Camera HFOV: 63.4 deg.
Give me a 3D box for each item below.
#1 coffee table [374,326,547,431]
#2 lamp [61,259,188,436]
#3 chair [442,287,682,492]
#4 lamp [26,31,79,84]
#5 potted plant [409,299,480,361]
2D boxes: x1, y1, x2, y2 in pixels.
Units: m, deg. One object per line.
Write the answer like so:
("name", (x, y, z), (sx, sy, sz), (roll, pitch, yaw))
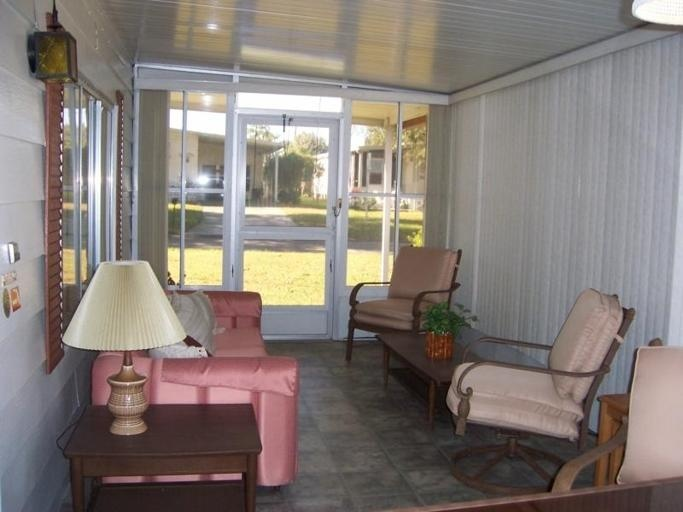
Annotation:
("coffee table", (0.853, 0.987, 4.642), (0.791, 0.389, 1.233), (-1, 7, -11))
("lamp", (-0.984, 0.446, 2.543), (0.423, 0.825, 0.353), (6, 9, 27))
("chair", (1.442, 0.813, 4.025), (1.276, 1.552, 1.034), (1, 1, 10))
("lamp", (-1.406, -1.020, 2.785), (0.204, 0.277, 0.201), (-1, 3, 11))
("potted plant", (0.909, 0.647, 4.448), (0.326, 0.311, 0.355), (6, -3, -6))
